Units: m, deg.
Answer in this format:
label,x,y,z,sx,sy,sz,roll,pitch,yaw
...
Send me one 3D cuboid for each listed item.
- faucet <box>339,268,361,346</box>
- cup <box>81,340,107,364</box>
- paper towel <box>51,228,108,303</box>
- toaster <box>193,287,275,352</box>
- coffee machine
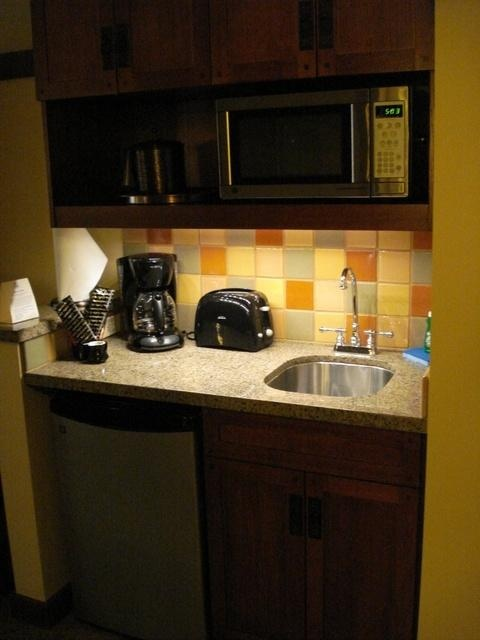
label,x,y,z,sx,sy,sz,roll,pitch,yaw
faucet,0.366,-0.038,1.741,0.058,0.282,0.197,1,13,13
cup,-0.483,0.098,1.731,0.070,0.056,0.075,1,4,0
paper towel,-0.577,-0.202,1.912,0.183,0.258,0.058,-7,13,-22
toaster,-0.033,-0.008,1.877,0.240,0.212,0.140,8,20,22
coffee machine,-0.328,-0.079,1.940,0.221,0.326,0.317,-5,13,-13
